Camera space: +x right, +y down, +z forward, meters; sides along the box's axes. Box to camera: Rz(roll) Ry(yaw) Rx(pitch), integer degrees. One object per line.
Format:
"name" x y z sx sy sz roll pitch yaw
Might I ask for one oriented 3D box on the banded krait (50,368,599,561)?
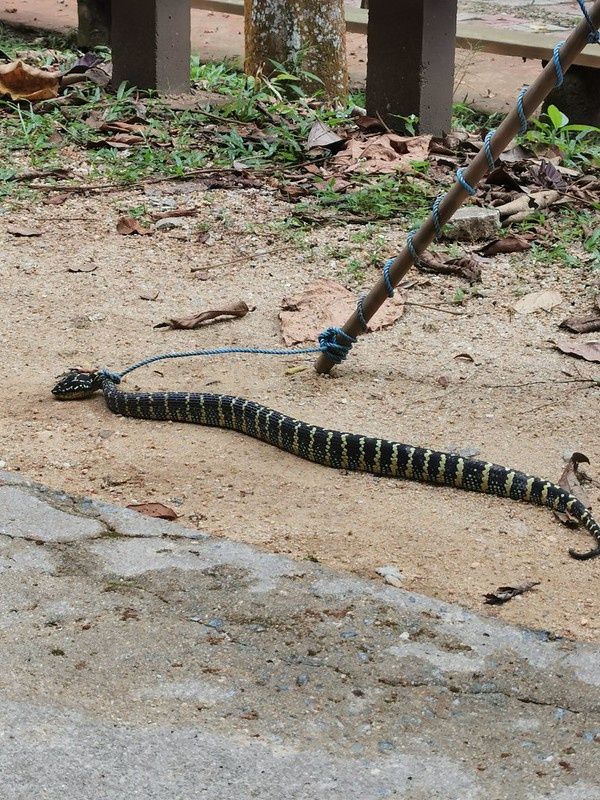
"banded krait" -0.735 0.242 6.041 5.026 0.313 0.795 11 0 26
